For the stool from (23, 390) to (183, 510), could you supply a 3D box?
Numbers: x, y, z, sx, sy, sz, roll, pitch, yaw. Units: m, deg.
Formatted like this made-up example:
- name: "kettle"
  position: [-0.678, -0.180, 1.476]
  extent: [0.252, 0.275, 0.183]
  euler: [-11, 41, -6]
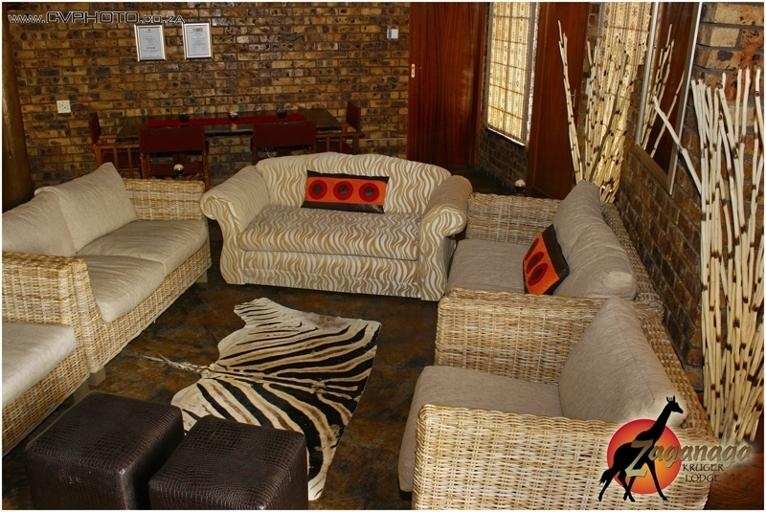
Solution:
- name: "stool"
  position: [-1.172, 0.822, 2.265]
  extent: [0.561, 0.421, 0.529]
  euler: [7, 20, 12]

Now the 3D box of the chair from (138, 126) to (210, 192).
- name: "chair"
  position: [-2.355, -1.080, 5.649]
  extent: [0.749, 0.631, 0.554]
  euler: [-7, 12, -21]

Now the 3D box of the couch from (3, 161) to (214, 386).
- name: "couch"
  position: [-1.807, 0.158, 3.389]
  extent: [0.844, 0.859, 1.497]
  euler: [12, 30, -3]

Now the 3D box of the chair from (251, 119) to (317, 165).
- name: "chair"
  position: [-1.172, -1.305, 5.849]
  extent: [0.768, 0.667, 0.509]
  euler: [-1, 43, -5]

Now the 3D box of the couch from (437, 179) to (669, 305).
- name: "couch"
  position: [0.961, -0.070, 3.091]
  extent: [0.907, 0.510, 1.057]
  euler: [6, 30, 5]

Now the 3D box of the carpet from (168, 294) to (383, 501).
- name: "carpet"
  position: [-0.714, 0.775, 3.260]
  extent: [1.167, 1.986, 0.021]
  euler: [12, 45, 0]

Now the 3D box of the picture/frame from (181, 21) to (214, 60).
- name: "picture/frame"
  position: [-2.411, -2.836, 6.480]
  extent: [0.515, 0.552, 0.061]
  euler: [-3, 20, -9]

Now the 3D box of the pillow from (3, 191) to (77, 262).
- name: "pillow"
  position: [-2.223, -0.199, 3.211]
  extent: [0.138, 0.418, 0.445]
  euler: [-22, -3, 32]

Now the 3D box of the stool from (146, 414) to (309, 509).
- name: "stool"
  position: [-0.629, 0.861, 2.083]
  extent: [0.466, 0.336, 0.429]
  euler: [6, 20, 9]

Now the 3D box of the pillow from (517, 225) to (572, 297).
- name: "pillow"
  position: [0.986, 0.041, 3.040]
  extent: [0.148, 0.159, 0.462]
  euler: [10, 27, 8]

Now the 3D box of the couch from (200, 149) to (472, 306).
- name: "couch"
  position: [-0.363, -0.283, 4.349]
  extent: [2.207, 0.951, 0.914]
  euler: [5, 32, 12]
